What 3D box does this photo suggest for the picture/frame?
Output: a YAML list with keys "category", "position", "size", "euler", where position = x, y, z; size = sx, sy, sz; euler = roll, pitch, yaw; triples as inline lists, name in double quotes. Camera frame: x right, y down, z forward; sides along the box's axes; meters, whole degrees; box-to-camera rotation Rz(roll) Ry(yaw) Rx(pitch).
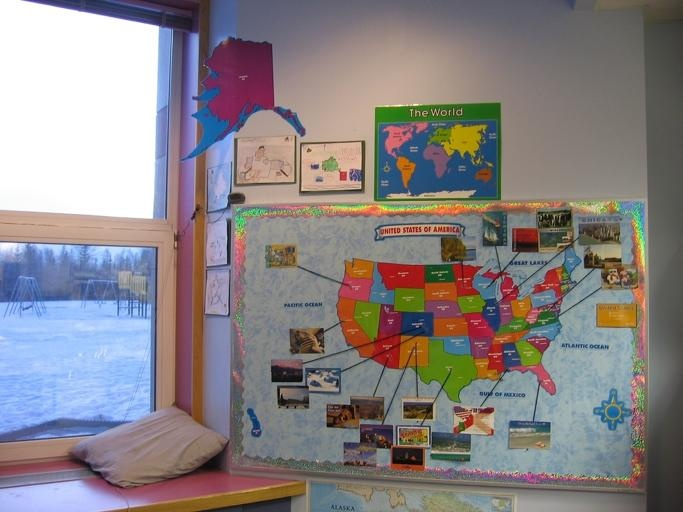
- category: "picture/frame"
  position: [-0.039, -0.468, 3.477]
  size: [0.277, 0.224, 0.039]
  euler: [1, 3, 13]
